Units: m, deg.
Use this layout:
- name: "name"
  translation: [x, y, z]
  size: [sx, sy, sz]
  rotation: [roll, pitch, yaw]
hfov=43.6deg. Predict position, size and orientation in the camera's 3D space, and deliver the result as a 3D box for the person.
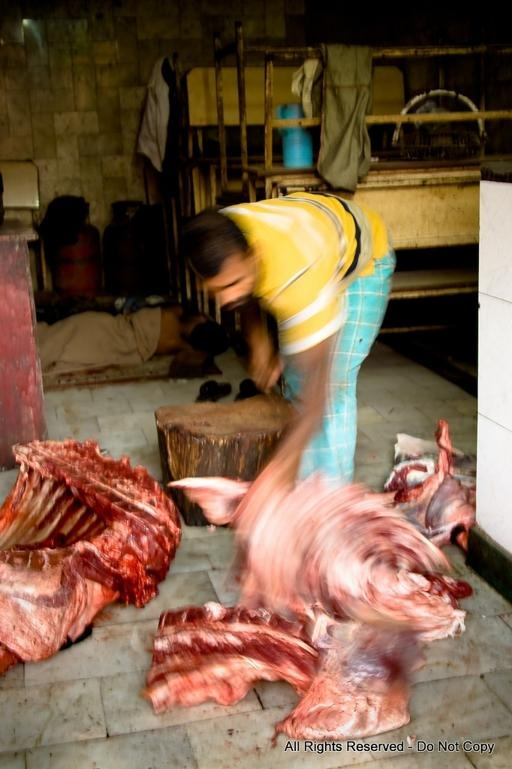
- name: "person"
  translation: [0.192, -0.061, 2.595]
  size: [0.389, 1.382, 1.056]
  rotation: [9, 20, 35]
